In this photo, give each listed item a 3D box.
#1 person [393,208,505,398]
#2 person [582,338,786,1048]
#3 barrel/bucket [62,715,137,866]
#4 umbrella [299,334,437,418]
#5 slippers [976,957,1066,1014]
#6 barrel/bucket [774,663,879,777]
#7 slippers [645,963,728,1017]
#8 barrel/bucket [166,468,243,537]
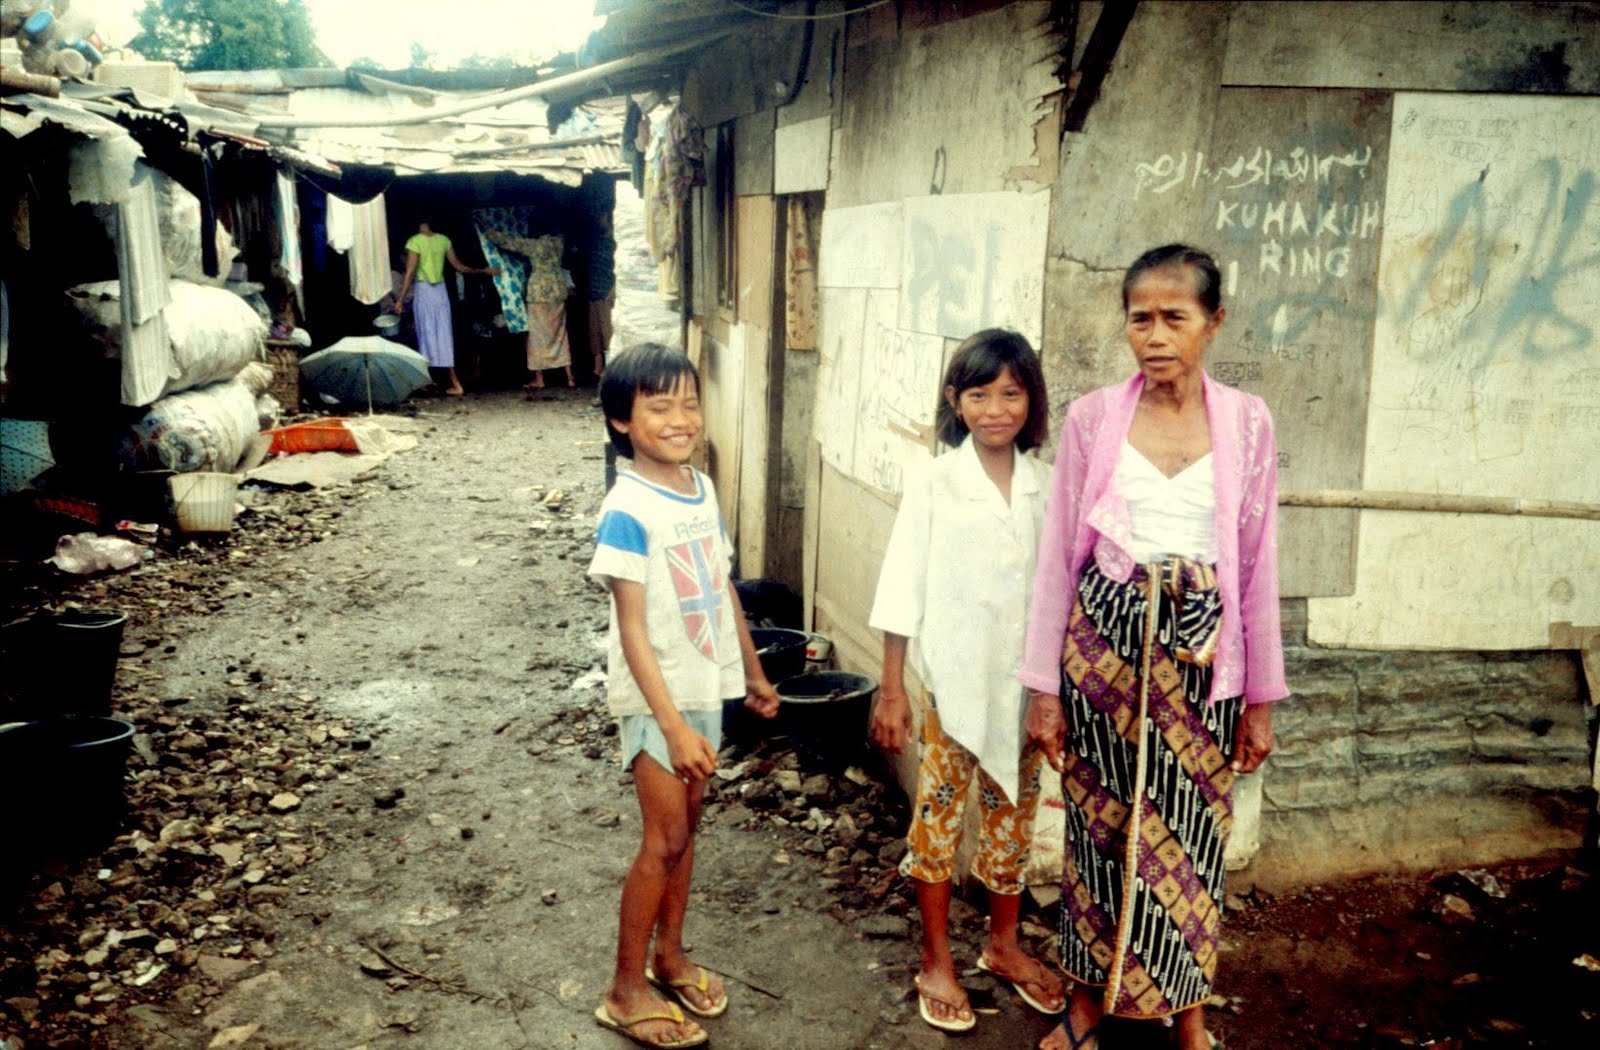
[{"bbox_3d":[-4.347,-2.640,15.872,0.781,2.054,0.889,8,14,27],"label":"person"},{"bbox_3d":[-0.473,0.676,5.111,0.641,2.715,0.632,1,13,-2],"label":"person"},{"bbox_3d":[-3.249,1.198,6.086,0.284,0.512,0.421,-4,13,-24],"label":"barrel/bucket"},{"bbox_3d":[-4.576,-1.528,13.696,1.195,0.837,1.263,-4,13,-24],"label":"umbrella"},{"bbox_3d":[0.917,1.887,5.347,0.160,0.085,0.342,-12,22,-44],"label":"slippers"},{"bbox_3d":[0.143,0.991,6.617,0.511,0.328,0.485,0,6,0],"label":"barrel/bucket"},{"bbox_3d":[-0.439,1.885,5.291,0.314,0.077,0.175,12,12,35],"label":"slippers"},{"bbox_3d":[-4.336,-0.177,9.508,0.462,0.332,0.446,-4,1,0],"label":"barrel/bucket"}]
